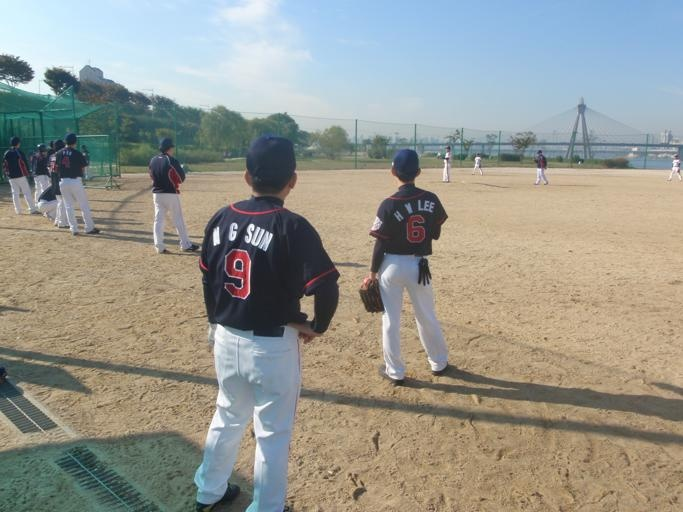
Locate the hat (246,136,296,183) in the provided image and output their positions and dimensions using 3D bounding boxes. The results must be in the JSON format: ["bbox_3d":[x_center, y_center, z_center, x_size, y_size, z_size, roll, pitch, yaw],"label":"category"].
[{"bbox_3d":[-0.557,-0.848,4.991,0.408,0.302,0.563,8,30,9],"label":"hat"}]

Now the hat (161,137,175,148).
[{"bbox_3d":[-2.972,-1.930,10.580,0.178,0.222,0.233,0,9,-13],"label":"hat"}]

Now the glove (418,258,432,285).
[{"bbox_3d":[0.836,0.168,6.423,0.150,0.249,0.066,1,1,-6],"label":"glove"}]

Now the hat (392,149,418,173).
[{"bbox_3d":[0.664,-0.996,6.450,0.271,0.220,0.209,6,16,13],"label":"hat"}]

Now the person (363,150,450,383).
[{"bbox_3d":[0.682,0.112,6.523,0.940,2.389,0.593,2,15,1],"label":"person"}]

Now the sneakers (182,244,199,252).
[{"bbox_3d":[-2.761,-0.141,11.251,0.283,0.122,0.108,-9,-2,23],"label":"sneakers"}]
